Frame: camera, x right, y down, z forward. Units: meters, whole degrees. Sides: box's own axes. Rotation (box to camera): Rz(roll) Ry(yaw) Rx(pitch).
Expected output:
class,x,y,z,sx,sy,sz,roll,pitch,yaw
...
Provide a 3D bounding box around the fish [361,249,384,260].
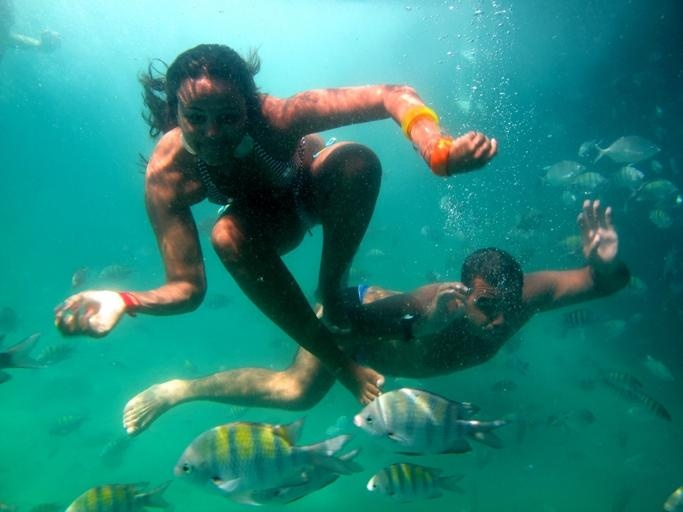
class,x,y,z,sx,sy,sz,roll,pitch,yaw
fish,0.878,-0.078,20.479,0.804,0.419,0.235,2,-11,-10

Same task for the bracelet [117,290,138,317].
class,x,y,z,sx,sy,sz,roll,pitch,yaw
bracelet,-4.141,0.912,13.110,0.370,0.464,0.355,-25,-24,3
